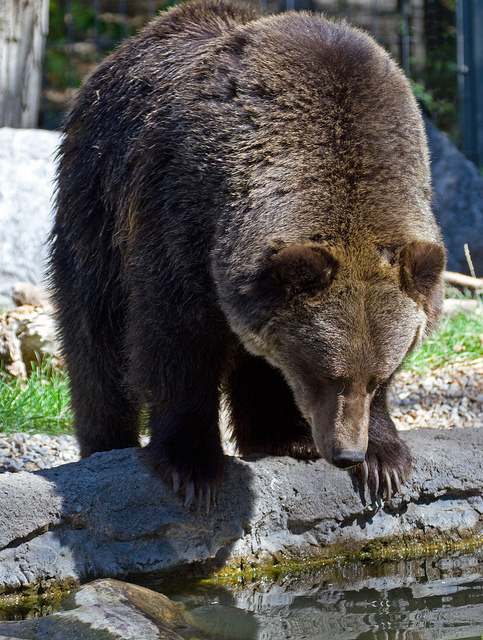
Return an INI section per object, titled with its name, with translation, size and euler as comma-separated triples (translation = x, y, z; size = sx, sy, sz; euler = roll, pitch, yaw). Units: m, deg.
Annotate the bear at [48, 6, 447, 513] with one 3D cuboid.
[bear]
translation = -0.025, -0.292, 3.708
size = 1.020, 2.202, 1.803
euler = -7, 14, -34
